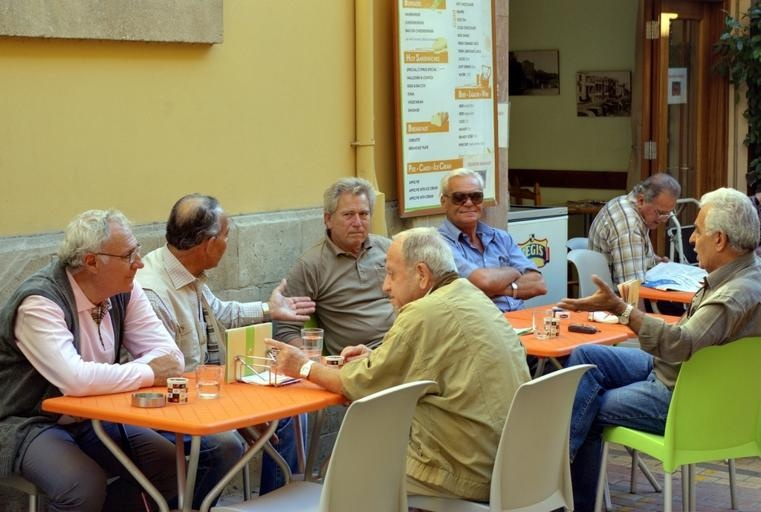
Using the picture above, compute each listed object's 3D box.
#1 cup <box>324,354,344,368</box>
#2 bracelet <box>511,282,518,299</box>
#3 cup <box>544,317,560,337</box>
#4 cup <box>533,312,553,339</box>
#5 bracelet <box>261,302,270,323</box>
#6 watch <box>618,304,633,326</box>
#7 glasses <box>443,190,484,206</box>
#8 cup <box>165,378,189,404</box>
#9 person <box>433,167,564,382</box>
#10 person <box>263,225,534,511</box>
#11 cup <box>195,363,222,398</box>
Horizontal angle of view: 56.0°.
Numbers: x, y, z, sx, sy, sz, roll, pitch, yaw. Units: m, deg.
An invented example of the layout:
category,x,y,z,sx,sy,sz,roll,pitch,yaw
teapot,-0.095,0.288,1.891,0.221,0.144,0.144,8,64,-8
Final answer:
category,x,y,z,sx,sy,sz,roll,pitch,yaw
cup,-0.248,0.561,3.857,0.069,0.071,0.091,1,0,15
bracelet,1.020,0.259,5.444,0.060,0.103,0.099,3,2,3
cup,1.097,0.453,4.587,0.099,0.197,0.108,0,7,0
cup,1.064,0.458,4.685,0.143,0.190,0.146,-2,3,0
bracelet,-0.743,0.373,4.678,0.070,0.110,0.114,0,0,-4
watch,1.357,0.323,3.953,0.077,0.121,0.075,1,12,20
glasses,0.649,-0.447,5.552,0.272,0.108,0.092,-3,11,4
cup,-0.953,0.634,3.376,0.095,0.111,0.106,3,2,-5
person,0.869,0.125,5.471,0.815,1.572,1.079,-6,4,-20
person,0.133,0.528,3.795,1.229,1.315,1.014,-3,0,37
cup,-0.840,0.626,3.539,0.109,0.144,0.145,0,-1,-1
